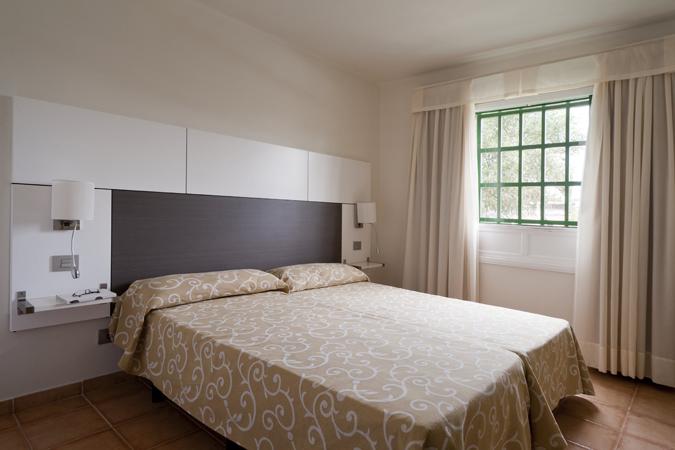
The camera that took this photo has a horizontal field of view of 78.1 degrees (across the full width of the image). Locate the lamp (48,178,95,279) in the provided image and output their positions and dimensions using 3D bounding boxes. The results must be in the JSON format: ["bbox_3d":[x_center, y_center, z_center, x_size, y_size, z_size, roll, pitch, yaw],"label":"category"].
[{"bbox_3d":[-2.258,0.059,3.586,0.324,0.868,0.300,-3,6,-33],"label":"lamp"}]

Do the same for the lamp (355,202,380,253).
[{"bbox_3d":[0.544,0.033,5.689,0.302,0.706,0.259,-7,11,27],"label":"lamp"}]
